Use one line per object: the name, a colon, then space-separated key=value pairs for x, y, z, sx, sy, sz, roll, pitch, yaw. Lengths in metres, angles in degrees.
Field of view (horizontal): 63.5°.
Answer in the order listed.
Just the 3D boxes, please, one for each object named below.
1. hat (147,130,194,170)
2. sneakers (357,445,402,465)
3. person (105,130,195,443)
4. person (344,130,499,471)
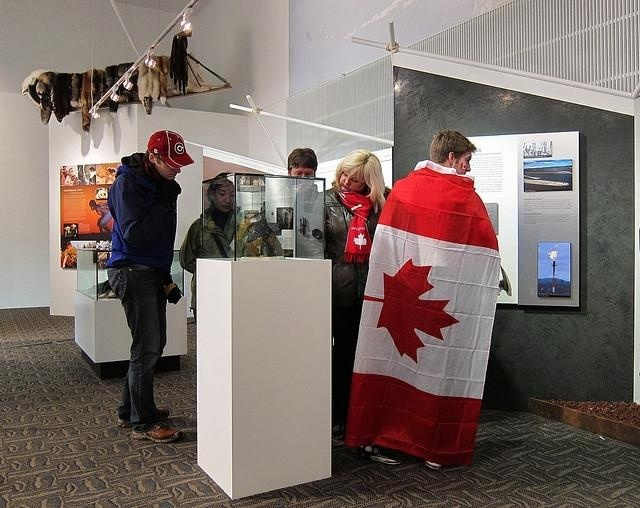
hat: x=-0.988 y=-0.708 z=3.459 sx=0.340 sy=0.156 sz=0.238 roll=29 pitch=28 yaw=22
sneakers: x=0.378 y=1.260 z=3.328 sx=0.266 sy=0.122 sz=0.094 roll=1 pitch=0 yaw=25
person: x=-1.181 y=0.235 z=3.555 sx=0.519 sy=2.112 sz=0.380 roll=-1 pitch=6 yaw=-25
person: x=0.663 y=0.365 z=3.280 sx=0.868 sy=1.882 sz=0.496 roll=4 pitch=6 yaw=17
